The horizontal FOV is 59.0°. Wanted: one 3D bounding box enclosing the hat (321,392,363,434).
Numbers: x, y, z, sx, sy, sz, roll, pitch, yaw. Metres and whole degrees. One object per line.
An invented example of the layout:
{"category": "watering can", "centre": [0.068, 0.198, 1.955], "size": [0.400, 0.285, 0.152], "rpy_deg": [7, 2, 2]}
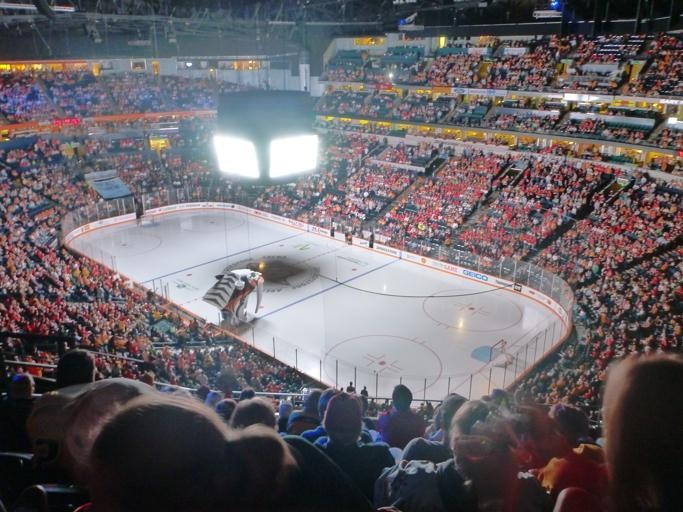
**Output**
{"category": "hat", "centre": [-0.009, 1.631, 6.254], "size": [0.328, 0.366, 0.431], "rpy_deg": [3, -3, -6]}
